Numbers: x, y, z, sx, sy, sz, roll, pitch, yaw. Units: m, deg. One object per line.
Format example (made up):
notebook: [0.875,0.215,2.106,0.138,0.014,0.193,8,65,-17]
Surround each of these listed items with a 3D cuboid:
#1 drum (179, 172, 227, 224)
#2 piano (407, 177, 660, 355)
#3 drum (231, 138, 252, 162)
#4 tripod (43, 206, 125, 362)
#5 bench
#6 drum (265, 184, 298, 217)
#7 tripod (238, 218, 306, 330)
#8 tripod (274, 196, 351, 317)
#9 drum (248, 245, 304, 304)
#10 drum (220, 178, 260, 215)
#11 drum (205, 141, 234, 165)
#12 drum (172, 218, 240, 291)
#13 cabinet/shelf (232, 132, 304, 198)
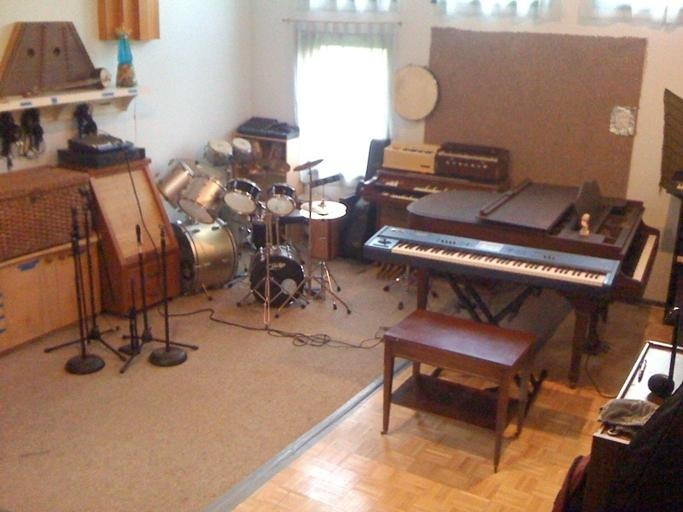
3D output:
drum: [-1.478,-0.589,6.169,0.453,0.489,0.376,-1,23,1]
piano: [1.644,-0.111,5.374,2.076,1.421,1.478,8,21,21]
drum: [-1.216,-1.280,7.061,0.215,0.242,0.232,-7,23,-12]
tripod: [-2.398,0.144,5.208,0.584,1.411,1.029,-12,25,-23]
bench: [0.807,0.909,4.229,0.907,0.750,0.572,12,18,30]
drum: [-0.612,-0.577,5.927,0.306,0.260,0.306,-3,23,-3]
tripod: [-0.697,0.133,6.188,0.872,1.097,1.005,4,20,-1]
tripod: [-0.316,0.014,6.416,0.768,1.282,0.806,-17,33,-39]
drum: [-0.673,0.205,6.021,0.397,0.401,0.302,-43,20,10]
drum: [-1.016,-0.603,6.001,0.360,0.365,0.269,-3,51,20]
drum: [-1.403,-1.210,6.751,0.289,0.176,0.287,5,39,-4]
drum: [-1.469,-0.012,6.204,0.423,0.600,0.593,-18,25,-39]
cabinet/shelf: [-0.916,-1.122,7.049,0.943,0.880,0.518,6,2,14]
